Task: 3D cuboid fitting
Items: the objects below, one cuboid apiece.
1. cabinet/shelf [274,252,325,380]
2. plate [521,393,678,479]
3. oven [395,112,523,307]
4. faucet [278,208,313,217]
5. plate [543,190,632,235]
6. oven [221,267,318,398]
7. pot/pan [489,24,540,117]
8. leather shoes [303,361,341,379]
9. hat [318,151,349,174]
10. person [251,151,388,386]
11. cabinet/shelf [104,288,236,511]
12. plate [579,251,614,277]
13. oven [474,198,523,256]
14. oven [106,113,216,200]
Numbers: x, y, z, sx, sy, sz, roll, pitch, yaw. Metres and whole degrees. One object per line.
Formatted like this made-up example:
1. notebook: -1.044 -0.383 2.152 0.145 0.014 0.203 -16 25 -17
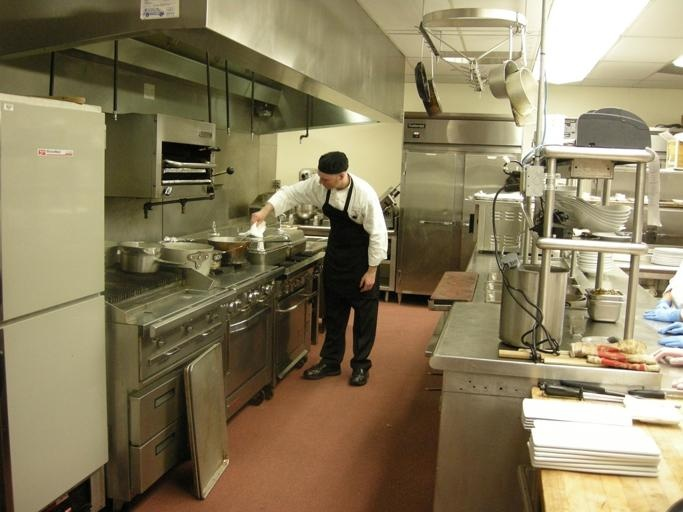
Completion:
1. cabinet/shelf: -0.344 0.464 4.367 0.457 0.733 0.822 2 13 11
2. plate: 0.824 0.595 1.845 0.406 0.098 0.312 4 13 7
3. oven: 1.444 -0.449 6.882 1.358 2.313 0.905 3 -8 11
4. faucet: -0.522 -0.517 6.636 0.338 0.090 0.205 -5 5 -12
5. plate: 1.113 -0.187 2.484 0.300 0.165 0.207 7 14 22
6. oven: -0.519 0.540 3.854 0.297 0.486 0.862 0 9 10
7. pot/pan: 1.010 -1.188 3.304 0.266 0.655 0.207 11 -17 -40
8. leather shoes: -0.150 0.886 4.342 0.274 0.125 0.118 3 -2 -17
9. hat: -0.056 -0.634 3.821 0.191 0.151 0.216 1 13 -5
10. person: -0.372 -0.307 7.035 2.096 1.134 1.602 -5 -34 1
11. cabinet/shelf: -0.917 0.768 2.879 0.417 1.245 1.039 1 4 9
12. plate: 1.803 0.044 3.854 0.234 0.147 0.249 -1 2 -21
13. oven: 1.294 -0.246 4.500 0.432 0.449 0.324 1 12 12
14. oven: -1.173 -0.636 3.658 0.417 0.486 0.725 4 8 16
